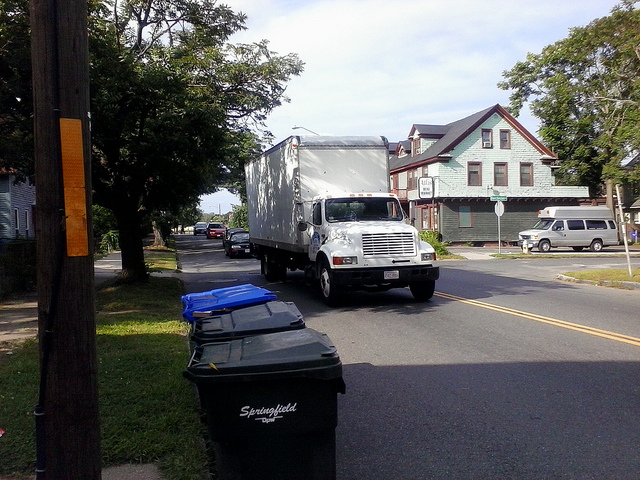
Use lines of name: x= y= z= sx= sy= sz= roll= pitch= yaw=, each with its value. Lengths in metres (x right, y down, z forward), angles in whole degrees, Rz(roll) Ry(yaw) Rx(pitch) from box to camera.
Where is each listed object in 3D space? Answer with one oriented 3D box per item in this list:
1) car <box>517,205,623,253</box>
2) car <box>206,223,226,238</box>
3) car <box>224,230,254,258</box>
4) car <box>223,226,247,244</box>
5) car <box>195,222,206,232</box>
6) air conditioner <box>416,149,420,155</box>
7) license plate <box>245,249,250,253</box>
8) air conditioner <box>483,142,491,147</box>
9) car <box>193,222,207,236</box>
car: x=16.749 y=-0.773 z=35.833 sx=5.735 sy=2.922 sz=3.378 roll=0 pitch=-3 yaw=-7
car: x=-12.414 y=-1.084 z=61.882 sx=1.390 sy=1.575 sz=2.865 roll=-2 pitch=1 yaw=-37
car: x=-5.099 y=0.148 z=32.410 sx=1.603 sy=1.456 sz=3.587 roll=0 pitch=-4 yaw=-15
car: x=-6.064 y=-0.343 z=36.721 sx=1.854 sy=1.449 sz=3.054 roll=0 pitch=5 yaw=-9
car: x=-18.364 y=-1.967 z=79.254 sx=1.407 sy=1.307 sz=2.410 roll=0 pitch=-4 yaw=-20
air conditioner: x=9.039 y=-8.146 z=48.158 sx=0.572 sy=0.585 sz=0.324 roll=1 pitch=8 yaw=20
license plate: x=-4.457 y=0.636 z=31.621 sx=0.282 sy=0.199 sz=0.158 roll=0 pitch=4 yaw=-2
air conditioner: x=13.984 y=-7.957 z=43.658 sx=0.718 sy=0.385 sz=0.165 roll=-2 pitch=1 yaw=-22
car: x=-18.469 y=-1.575 z=79.391 sx=1.617 sy=1.414 sz=2.827 roll=0 pitch=7 yaw=-18
